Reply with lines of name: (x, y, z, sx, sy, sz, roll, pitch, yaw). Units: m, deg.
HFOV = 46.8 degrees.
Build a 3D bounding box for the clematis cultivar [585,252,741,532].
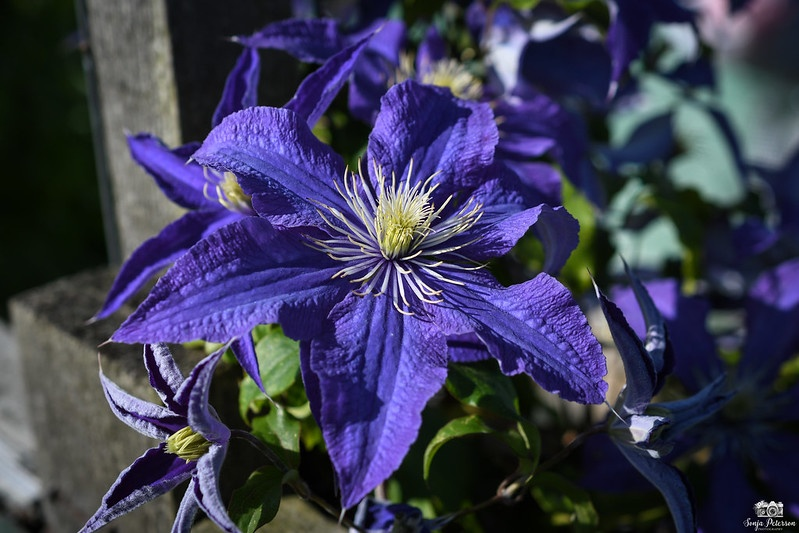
clematis cultivar: (0.405, 0.244, 1.661, 0.355, 0.395, 0.136, -11, -16, -23)
